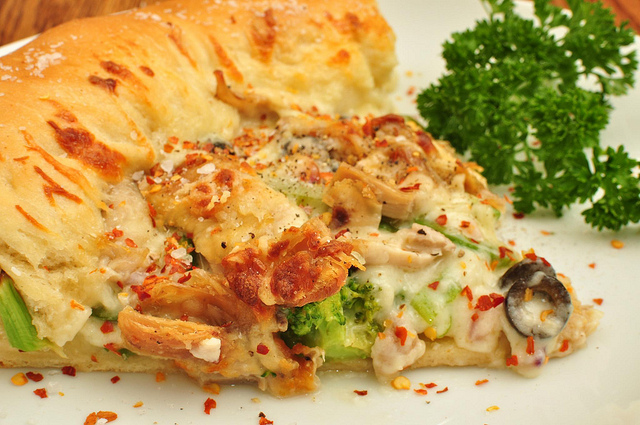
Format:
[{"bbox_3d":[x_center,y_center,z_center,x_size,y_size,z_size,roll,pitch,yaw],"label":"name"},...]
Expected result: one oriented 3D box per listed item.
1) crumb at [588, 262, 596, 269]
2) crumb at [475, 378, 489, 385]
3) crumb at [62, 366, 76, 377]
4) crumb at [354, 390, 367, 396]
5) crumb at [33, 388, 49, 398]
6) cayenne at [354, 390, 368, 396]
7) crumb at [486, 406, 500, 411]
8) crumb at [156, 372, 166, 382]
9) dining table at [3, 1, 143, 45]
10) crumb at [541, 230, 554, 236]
[{"bbox_3d":[2.239,0.430,5.822,0.048,0.010,0.046,-5,34,15],"label":"crumb"},{"bbox_3d":[1.200,1.240,5.204,0.071,0.016,0.038,-12,36,-8],"label":"crumb"},{"bbox_3d":[-1.863,1.164,5.223,0.078,0.023,0.071,2,59,-14],"label":"crumb"},{"bbox_3d":[0.300,1.306,5.154,0.066,0.022,0.028,2,5,17],"label":"crumb"},{"bbox_3d":[-2.028,1.295,5.111,0.066,0.018,0.063,4,46,-14],"label":"crumb"},{"bbox_3d":[0.298,1.307,5.154,0.039,0.013,0.037,4,8,11],"label":"cayenne"},{"bbox_3d":[1.229,1.387,5.041,0.058,0.014,0.028,-7,35,-2],"label":"crumb"},{"bbox_3d":[-1.175,1.198,5.196,0.054,0.015,0.051,8,38,-15],"label":"crumb"},{"bbox_3d":[-2.624,-1.865,6.685,1.122,0.430,0.231,-15,8,-3],"label":"dining table"},{"bbox_3d":[1.956,0.171,6.101,0.071,0.037,0.016,14,-23,25],"label":"crumb"}]
